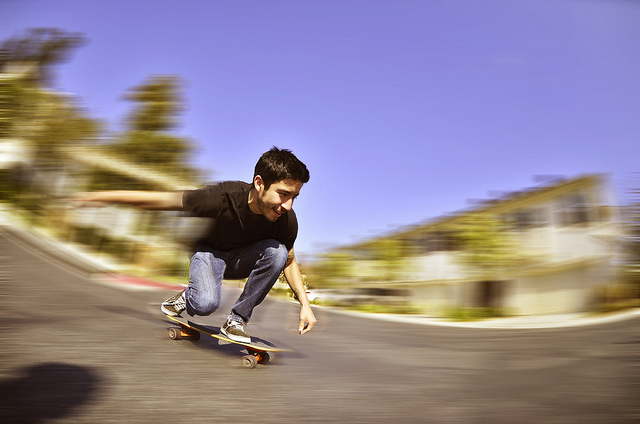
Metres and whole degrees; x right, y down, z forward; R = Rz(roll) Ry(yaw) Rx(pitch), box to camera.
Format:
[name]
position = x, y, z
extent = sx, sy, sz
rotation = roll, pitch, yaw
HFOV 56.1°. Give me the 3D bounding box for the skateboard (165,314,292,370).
[skateboard]
position = -1.016, 1.356, 6.318
extent = 2.010, 0.201, 0.418
rotation = 7, -5, 20
